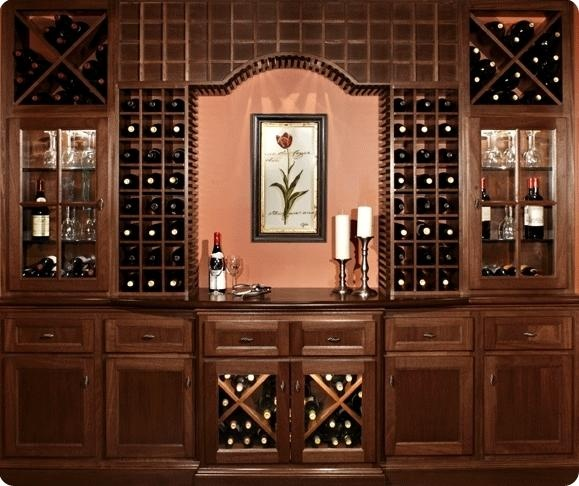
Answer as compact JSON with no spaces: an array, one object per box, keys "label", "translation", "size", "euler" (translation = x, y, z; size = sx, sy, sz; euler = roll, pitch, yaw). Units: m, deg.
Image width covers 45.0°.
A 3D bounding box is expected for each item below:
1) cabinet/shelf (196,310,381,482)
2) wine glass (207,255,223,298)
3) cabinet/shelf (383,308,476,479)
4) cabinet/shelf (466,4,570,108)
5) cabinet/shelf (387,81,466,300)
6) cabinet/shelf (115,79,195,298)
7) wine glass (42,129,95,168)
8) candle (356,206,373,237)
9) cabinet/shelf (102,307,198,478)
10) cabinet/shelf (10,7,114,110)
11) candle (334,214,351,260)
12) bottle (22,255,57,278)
[{"label":"cabinet/shelf","translation":[0.000,0.779,3.864],"size":[0.919,0.869,0.336],"euler":[0,6,-2]},{"label":"wine glass","translation":[-0.409,0.181,3.933],"size":[0.090,0.159,0.096],"euler":[0,0,-5]},{"label":"cabinet/shelf","translation":[0.758,0.737,3.925],"size":[0.486,0.884,0.439],"euler":[-3,18,2]},{"label":"cabinet/shelf","translation":[1.245,-1.007,3.794],"size":[0.511,0.529,0.163],"euler":[0,0,2]},{"label":"cabinet/shelf","translation":[0.754,-0.283,3.886],"size":[0.366,1.114,0.332],"euler":[0,0,13]},{"label":"cabinet/shelf","translation":[-0.755,-0.285,3.886],"size":[0.374,0.873,0.357],"euler":[0,0,-10]},{"label":"wine glass","translation":[-1.200,-0.518,3.780],"size":[0.189,0.171,0.068],"euler":[0,2,-4]},{"label":"candle","translation":[0.426,-0.112,4.007],"size":[0.079,0.182,0.188],"euler":[0,0,5]},{"label":"cabinet/shelf","translation":[-0.771,0.707,3.897],"size":[0.481,0.886,0.426],"euler":[1,21,-10]},{"label":"cabinet/shelf","translation":[-1.232,-0.987,3.778],"size":[0.512,0.529,0.163],"euler":[0,0,-3]},{"label":"candle","translation":[0.298,-0.024,3.997],"size":[0.082,0.258,0.041],"euler":[0,0,-5]},{"label":"bottle","translation":[-1.359,0.137,3.790],"size":[0.080,0.098,0.318],"euler":[-2,9,-9]}]
